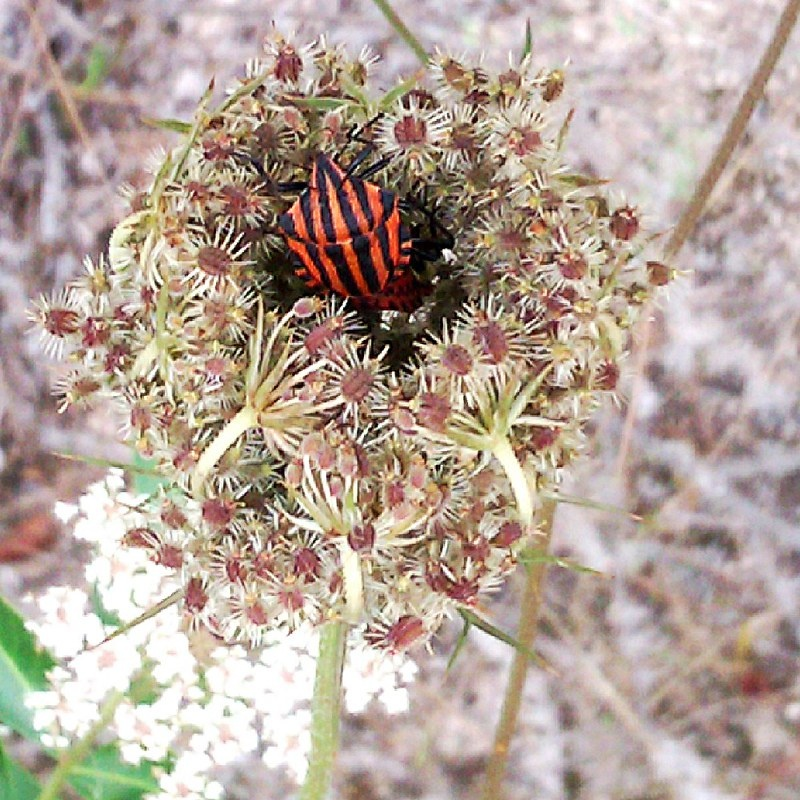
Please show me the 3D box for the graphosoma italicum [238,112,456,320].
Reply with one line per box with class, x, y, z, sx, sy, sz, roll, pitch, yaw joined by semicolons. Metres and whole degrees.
graphosoma italicum;-0.054;-0.228;1.715;0.199;0.206;0.244;-26;82;-4
